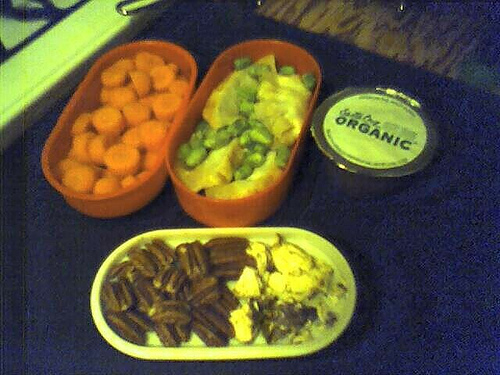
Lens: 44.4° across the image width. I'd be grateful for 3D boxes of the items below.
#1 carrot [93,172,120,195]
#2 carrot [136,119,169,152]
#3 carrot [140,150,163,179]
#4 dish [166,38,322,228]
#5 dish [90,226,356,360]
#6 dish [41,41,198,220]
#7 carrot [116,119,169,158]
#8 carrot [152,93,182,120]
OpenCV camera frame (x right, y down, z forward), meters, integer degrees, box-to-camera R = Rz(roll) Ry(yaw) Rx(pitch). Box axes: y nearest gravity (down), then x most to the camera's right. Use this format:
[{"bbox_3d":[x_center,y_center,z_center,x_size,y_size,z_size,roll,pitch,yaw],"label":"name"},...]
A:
[{"bbox_3d":[-0.432,-0.009,1.887,0.073,0.064,0.042,14,40,43],"label":"carrot"},{"bbox_3d":[-0.302,-0.168,1.914,0.060,0.092,0.112,-2,27,4],"label":"carrot"},{"bbox_3d":[-0.302,-0.067,1.898,0.060,0.026,0.075,-3,72,30],"label":"carrot"},{"bbox_3d":[0.006,-0.204,1.996,0.376,0.203,0.681,19,67,17],"label":"dish"},{"bbox_3d":[-0.076,0.300,1.766,0.767,0.038,0.381,-1,72,-1],"label":"dish"},{"bbox_3d":[-0.405,-0.175,2.021,0.366,0.183,0.628,14,74,8],"label":"dish"},{"bbox_3d":[-0.325,-0.157,1.912,0.114,0.029,0.124,4,70,7],"label":"carrot"},{"bbox_3d":[-0.265,-0.263,1.968,0.080,0.028,0.084,-27,69,-17],"label":"carrot"}]
